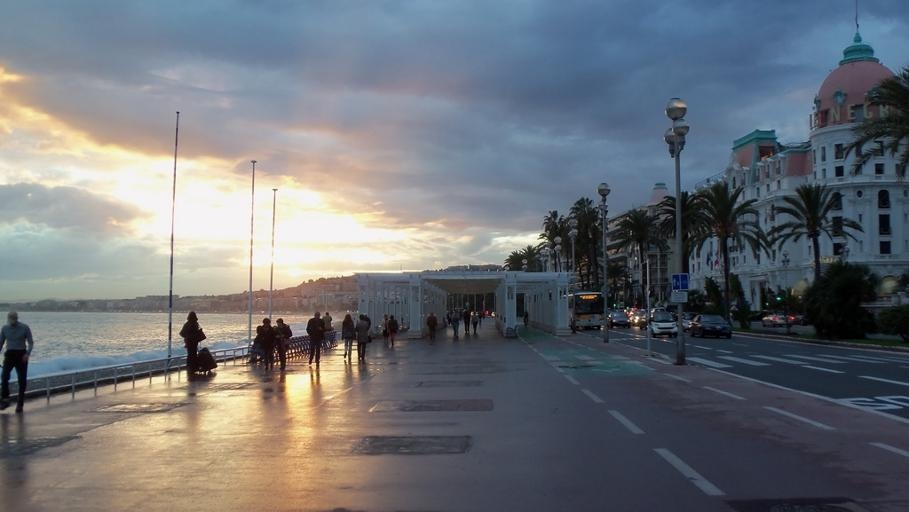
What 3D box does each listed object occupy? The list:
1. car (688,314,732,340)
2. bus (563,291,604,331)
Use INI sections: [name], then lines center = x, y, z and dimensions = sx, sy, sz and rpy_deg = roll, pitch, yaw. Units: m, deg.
[car]
center = 18.440, 5.100, 48.639
dimensions = 2.222, 1.544, 2.853
rpy_deg = -3, 3, -41
[bus]
center = 13.858, 5.181, 71.632
dimensions = 3.132, 4.137, 9.505
rpy_deg = -3, 3, 7
